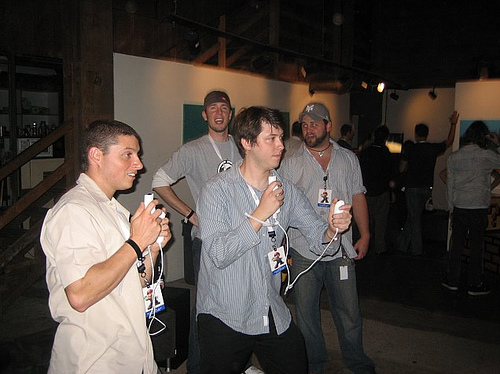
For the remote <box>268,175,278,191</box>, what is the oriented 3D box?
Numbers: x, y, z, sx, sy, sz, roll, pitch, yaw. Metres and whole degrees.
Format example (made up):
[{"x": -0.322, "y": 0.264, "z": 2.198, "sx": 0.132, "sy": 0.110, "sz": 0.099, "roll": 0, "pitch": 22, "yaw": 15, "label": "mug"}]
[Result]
[{"x": 0.141, "y": -0.025, "z": 2.158, "sx": 0.060, "sy": 0.126, "sz": 0.065, "roll": 1, "pitch": 1, "yaw": 10, "label": "remote"}]

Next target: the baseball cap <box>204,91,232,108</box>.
[{"x": -0.311, "y": -0.843, "z": 3.543, "sx": 0.238, "sy": 0.152, "sz": 0.187, "roll": -1, "pitch": 7, "yaw": -7, "label": "baseball cap"}]

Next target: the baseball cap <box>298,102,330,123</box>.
[{"x": 0.595, "y": -0.650, "z": 3.339, "sx": 0.225, "sy": 0.141, "sz": 0.163, "roll": 7, "pitch": 5, "yaw": -38, "label": "baseball cap"}]

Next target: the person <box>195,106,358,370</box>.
[{"x": 0.100, "y": 0.330, "z": 2.274, "sx": 0.851, "sy": 1.645, "sz": 0.434, "roll": -2, "pitch": 7, "yaw": -16, "label": "person"}]

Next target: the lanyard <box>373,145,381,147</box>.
[{"x": 2.318, "y": -0.750, "z": 6.748, "sx": 0.136, "sy": 0.026, "sz": 0.055, "roll": 2, "pitch": 8, "yaw": 17, "label": "lanyard"}]

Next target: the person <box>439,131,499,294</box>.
[{"x": 3.266, "y": 0.320, "z": 5.514, "sx": 0.650, "sy": 2.280, "sz": 1.087, "roll": 4, "pitch": 8, "yaw": 30, "label": "person"}]

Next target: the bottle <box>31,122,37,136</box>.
[{"x": -4.693, "y": -1.272, "z": 8.066, "sx": 0.109, "sy": 0.313, "sz": 0.699, "roll": -4, "pitch": 8, "yaw": -29, "label": "bottle"}]

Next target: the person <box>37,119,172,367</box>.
[{"x": -0.718, "y": 0.330, "z": 1.913, "sx": 0.617, "sy": 1.348, "sz": 0.434, "roll": -4, "pitch": 8, "yaw": -32, "label": "person"}]
